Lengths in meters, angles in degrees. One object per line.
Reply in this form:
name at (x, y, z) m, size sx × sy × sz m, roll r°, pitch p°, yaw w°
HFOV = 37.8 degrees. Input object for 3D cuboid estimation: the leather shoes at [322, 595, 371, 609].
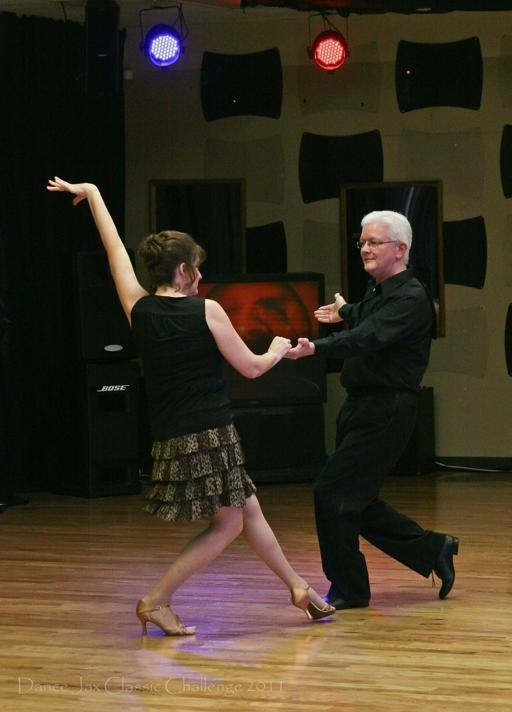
leather shoes at (0.323, 0.875, 2.652) m, size 0.166 × 0.043 × 0.054 m, roll 10°, pitch -7°, yaw -13°

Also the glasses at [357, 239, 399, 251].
glasses at (0.445, -0.396, 2.655) m, size 0.090 × 0.023 × 0.083 m, roll 0°, pitch 0°, yaw -31°

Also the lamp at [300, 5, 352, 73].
lamp at (0.608, -2.605, 6.157) m, size 0.344 × 0.533 × 0.518 m, roll -1°, pitch 8°, yaw 5°

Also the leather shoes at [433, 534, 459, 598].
leather shoes at (0.729, 0.787, 2.836) m, size 0.123 × 0.240 × 0.080 m, roll 0°, pitch -2°, yaw -12°

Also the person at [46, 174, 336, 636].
person at (-0.181, 0.184, 2.350) m, size 0.523 × 1.419 × 0.472 m, roll -8°, pitch 10°, yaw -37°
